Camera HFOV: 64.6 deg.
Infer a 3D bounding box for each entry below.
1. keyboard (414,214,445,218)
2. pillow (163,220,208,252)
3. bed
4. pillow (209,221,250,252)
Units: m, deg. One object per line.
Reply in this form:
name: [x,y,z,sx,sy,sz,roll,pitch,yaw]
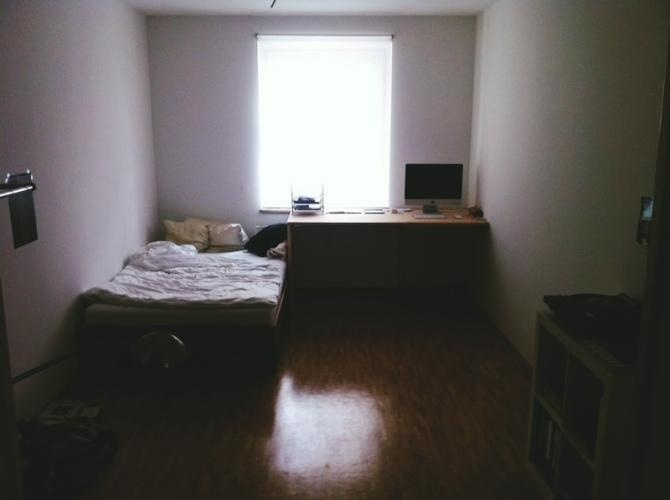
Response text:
keyboard: [0.892,-0.318,5.003,0.274,0.012,0.189,1,16,5]
pillow: [-1.496,-0.174,5.319,0.321,0.356,0.135,4,-14,-5]
bed: [-1.116,0.520,4.107,1.457,0.608,1.432,2,16,9]
pillow: [-1.108,-0.121,5.382,0.278,0.305,0.145,-8,-6,-11]
